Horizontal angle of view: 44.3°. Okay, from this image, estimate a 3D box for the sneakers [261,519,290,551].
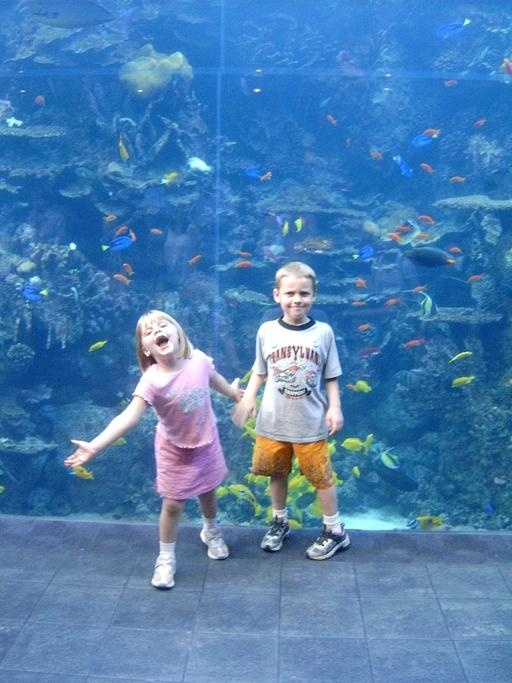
[{"bbox_3d":[0.109,1.051,3.403,0.099,0.091,0.224,-1,0,14],"label":"sneakers"}]

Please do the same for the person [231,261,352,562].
[{"bbox_3d":[0.191,0.490,3.403,0.579,1.269,0.479,-1,13,13],"label":"person"}]

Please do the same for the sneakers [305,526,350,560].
[{"bbox_3d":[0.383,1.076,3.402,0.104,0.124,0.298,-14,1,45],"label":"sneakers"}]

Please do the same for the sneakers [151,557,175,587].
[{"bbox_3d":[-0.469,1.153,3.159,0.127,0.124,0.136,-5,11,-8],"label":"sneakers"}]

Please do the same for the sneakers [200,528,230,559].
[{"bbox_3d":[-0.226,1.079,3.378,0.089,0.079,0.223,-3,5,-21],"label":"sneakers"}]

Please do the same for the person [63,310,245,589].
[{"bbox_3d":[-0.447,0.524,3.203,0.374,1.346,0.930,4,14,34],"label":"person"}]
